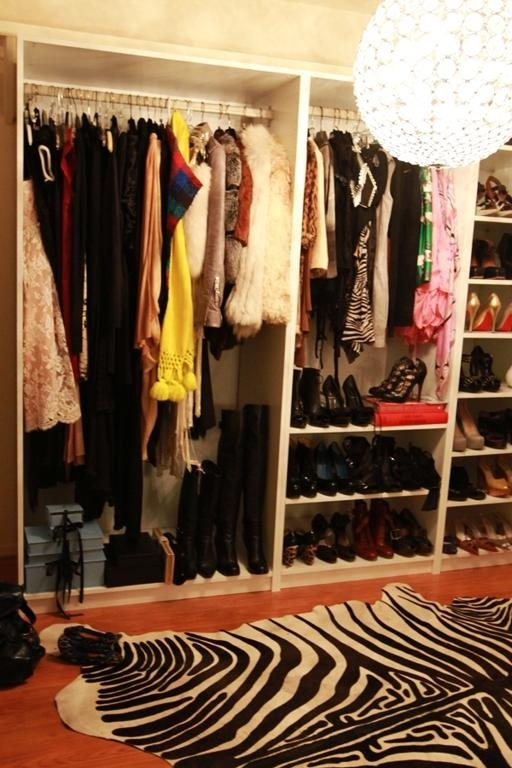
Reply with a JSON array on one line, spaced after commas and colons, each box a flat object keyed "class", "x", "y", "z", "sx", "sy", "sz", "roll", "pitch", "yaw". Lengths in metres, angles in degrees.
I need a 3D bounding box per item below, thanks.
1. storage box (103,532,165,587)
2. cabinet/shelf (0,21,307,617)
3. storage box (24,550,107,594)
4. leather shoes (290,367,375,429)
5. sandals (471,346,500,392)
[{"class": "storage box", "x": -0.474, "y": 0.645, "z": 2.272, "sx": 0.221, "sy": 0.182, "sz": 0.226, "roll": 2, "pitch": 4, "yaw": -16}, {"class": "cabinet/shelf", "x": -0.412, "y": -0.199, "z": 2.290, "sx": 1.122, "sy": 2.011, "sz": 0.677, "roll": 1, "pitch": 3, "yaw": -21}, {"class": "storage box", "x": -0.682, "y": 0.680, "z": 2.104, "sx": 0.192, "sy": 0.108, "sz": 0.145, "roll": 0, "pitch": 1, "yaw": -24}, {"class": "leather shoes", "x": 0.302, "y": 0.084, "z": 2.508, "sx": 0.221, "sy": 0.122, "sz": 0.318, "roll": -1, "pitch": 15, "yaw": -2}, {"class": "sandals", "x": 1.092, "y": -0.074, "z": 2.833, "sx": 0.090, "sy": 0.129, "sz": 0.296, "roll": -4, "pitch": 23, "yaw": -7}]
